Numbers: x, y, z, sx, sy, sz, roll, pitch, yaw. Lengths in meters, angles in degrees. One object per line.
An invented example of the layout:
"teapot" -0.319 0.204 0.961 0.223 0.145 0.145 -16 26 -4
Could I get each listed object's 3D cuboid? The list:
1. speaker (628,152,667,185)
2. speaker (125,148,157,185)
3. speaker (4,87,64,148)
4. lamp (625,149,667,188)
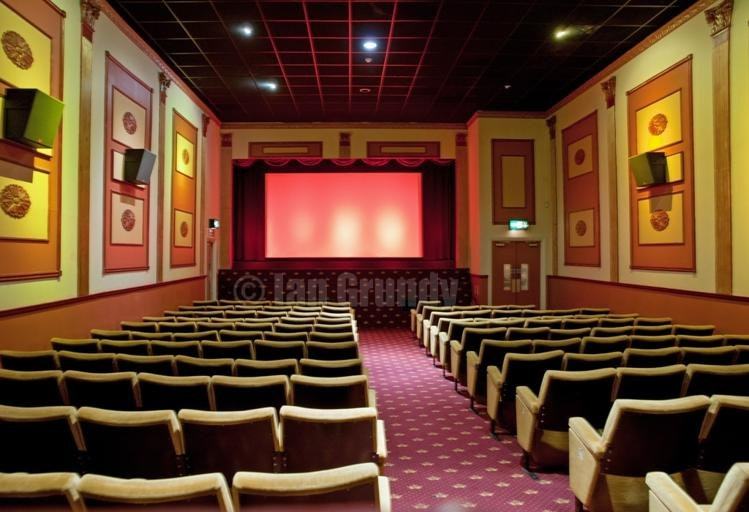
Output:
"speaker" 4.775 -1.463 9.025 0.496 0.617 0.609 1 -5 3
"speaker" -4.202 -1.607 9.140 0.296 0.565 0.562 5 1 -3
"speaker" -4.377 -1.788 6.546 0.660 0.720 0.344 -5 10 -31
"lamp" 4.766 -1.538 9.014 0.505 0.638 0.643 1 -4 2
